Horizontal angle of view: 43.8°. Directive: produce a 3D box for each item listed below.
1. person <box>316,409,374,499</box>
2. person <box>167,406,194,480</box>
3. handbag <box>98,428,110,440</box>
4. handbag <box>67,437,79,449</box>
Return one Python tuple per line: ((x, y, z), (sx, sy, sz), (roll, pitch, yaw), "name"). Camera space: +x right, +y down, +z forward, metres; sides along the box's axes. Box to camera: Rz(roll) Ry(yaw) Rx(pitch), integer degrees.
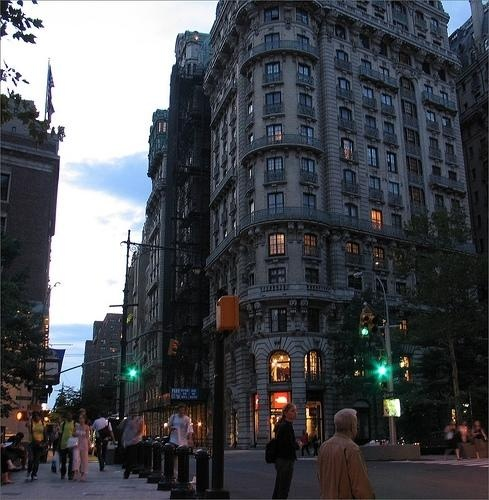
((0.942, 1.904, 5.748), (0.496, 0.838, 0.482), (-3, -19, 7), "person")
((-1.607, 4.456, 15.222), (0.607, 0.954, 1.277), (2, -21, -6), "person")
((-5.083, 6.638, 22.142), (0.417, 0.418, 0.694), (11, -34, -16), "handbag")
((-4.912, 5.488, 17.353), (0.394, 0.492, 0.152), (-10, -11, 36), "handbag")
